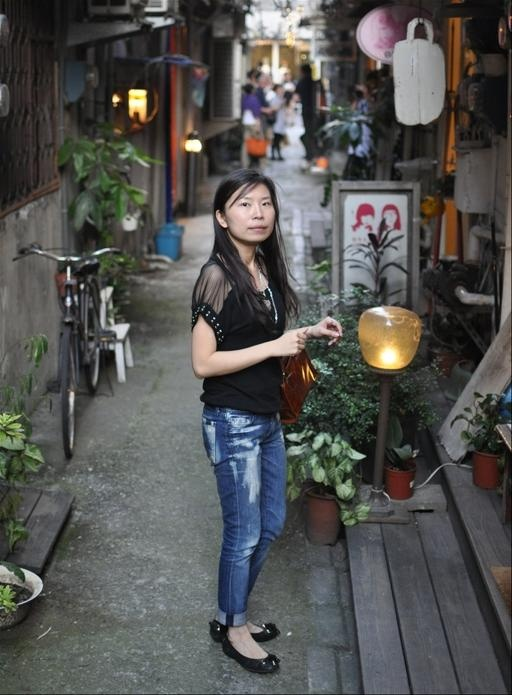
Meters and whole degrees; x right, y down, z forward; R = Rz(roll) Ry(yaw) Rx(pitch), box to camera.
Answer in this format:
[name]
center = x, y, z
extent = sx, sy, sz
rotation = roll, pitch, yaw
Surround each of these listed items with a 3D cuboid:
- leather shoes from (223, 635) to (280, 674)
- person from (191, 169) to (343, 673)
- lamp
[leather shoes]
center = -0.025, 1.114, 2.449
extent = 0.200, 0.089, 0.101
rotation = 10, 2, 22
[person]
center = 0.045, 0.316, 2.339
extent = 0.485, 1.819, 0.543
rotation = 1, 13, 4
[lamp]
center = 0.619, 0.342, 3.163
extent = 0.281, 1.083, 0.363
rotation = 0, 13, 1
